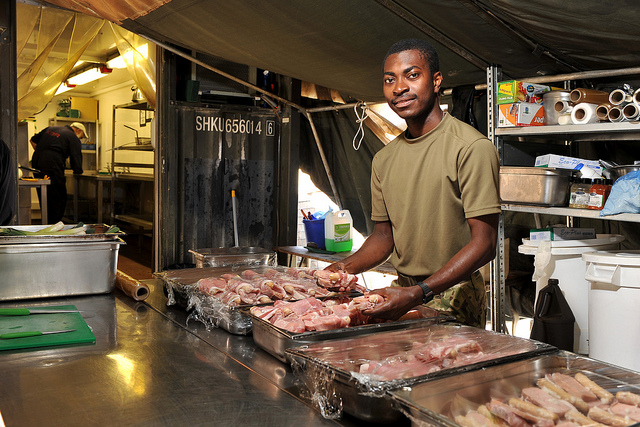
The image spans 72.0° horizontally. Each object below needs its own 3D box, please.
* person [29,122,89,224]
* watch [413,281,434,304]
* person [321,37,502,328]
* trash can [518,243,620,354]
[{"bbox_3d":[-4.858,-0.733,8.259,0.750,1.749,0.733,-11,15,-39],"label":"person"},{"bbox_3d":[0.409,0.296,1.724,0.057,0.080,0.080,-29,13,-16],"label":"watch"},{"bbox_3d":[0.347,-0.158,1.910,0.685,1.179,0.658,-12,15,-43],"label":"person"},{"bbox_3d":[1.760,0.552,3.290,0.667,0.738,0.701,0,2,43],"label":"trash can"}]
